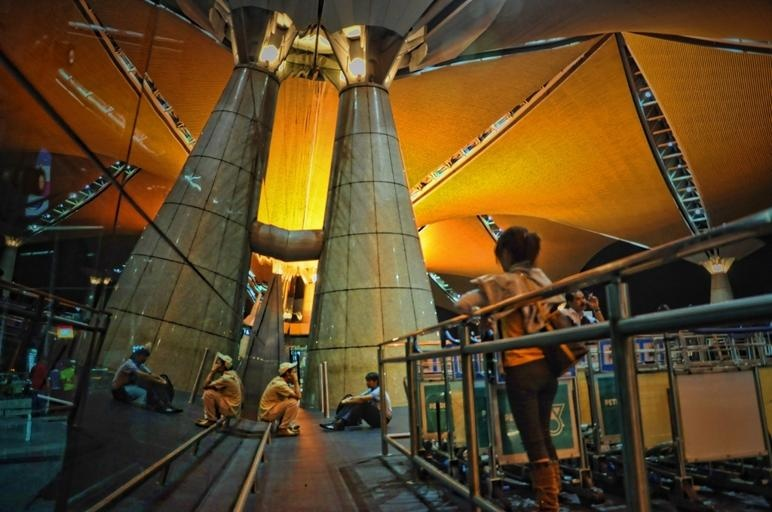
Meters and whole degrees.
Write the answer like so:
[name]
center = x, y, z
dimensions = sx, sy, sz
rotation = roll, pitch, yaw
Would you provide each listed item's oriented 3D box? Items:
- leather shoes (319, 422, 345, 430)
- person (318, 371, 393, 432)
[leather shoes]
center = -0.913, 2.868, 7.394
dimensions = 0.339, 0.127, 0.186
rotation = 9, -18, -12
[person]
center = -0.472, 2.527, 7.626
dimensions = 0.938, 0.932, 0.729
rotation = -5, -21, 16
